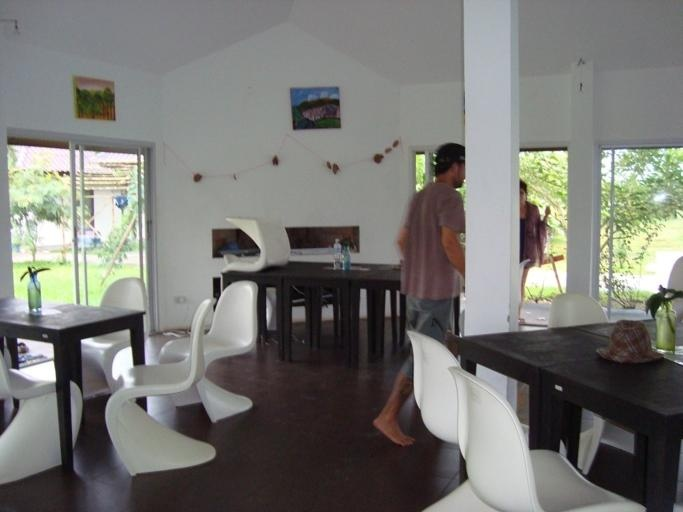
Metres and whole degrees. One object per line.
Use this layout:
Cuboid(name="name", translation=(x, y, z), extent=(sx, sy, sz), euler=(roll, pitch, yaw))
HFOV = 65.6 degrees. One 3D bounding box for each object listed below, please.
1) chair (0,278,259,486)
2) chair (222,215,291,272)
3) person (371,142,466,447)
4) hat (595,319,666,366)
Cuboid(name="chair", translation=(-1.390, 0.748, 3.744), extent=(1.318, 0.971, 1.215), euler=(2, 8, 13))
Cuboid(name="chair", translation=(-0.882, -0.134, 5.829), extent=(0.560, 0.762, 0.688), euler=(2, 3, 30))
Cuboid(name="person", translation=(0.589, 0.226, 3.770), extent=(0.643, 2.030, 0.692), euler=(0, 10, -4))
Cuboid(name="hat", translation=(1.393, 0.368, 2.488), extent=(0.209, 0.111, 0.221), euler=(-4, 2, -27))
